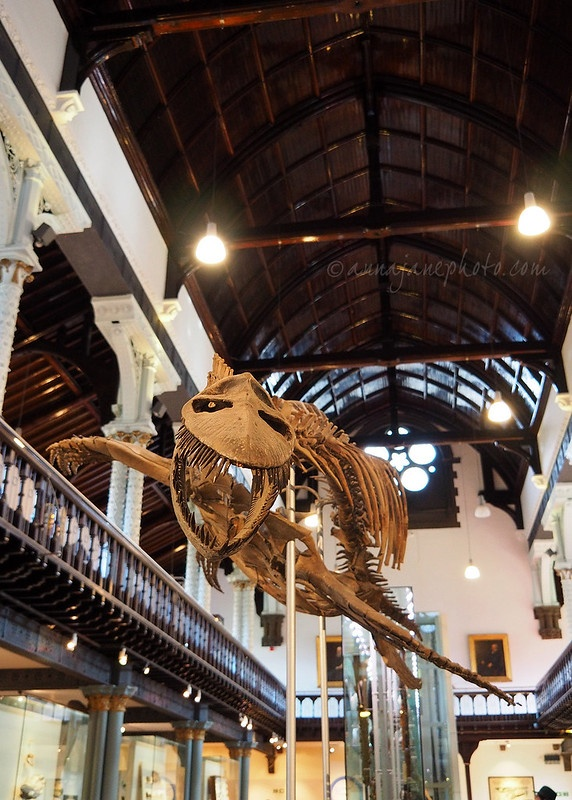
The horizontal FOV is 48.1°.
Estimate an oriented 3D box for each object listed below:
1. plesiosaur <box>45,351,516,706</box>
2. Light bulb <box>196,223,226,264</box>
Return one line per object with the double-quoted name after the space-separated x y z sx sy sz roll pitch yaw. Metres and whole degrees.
0.107 0.448 2.566 0.772 1.214 1.449 -10 -31 20 "plesiosaur"
-0.730 -1.601 6.420 0.243 0.613 0.342 1 -29 0 "Light bulb"
